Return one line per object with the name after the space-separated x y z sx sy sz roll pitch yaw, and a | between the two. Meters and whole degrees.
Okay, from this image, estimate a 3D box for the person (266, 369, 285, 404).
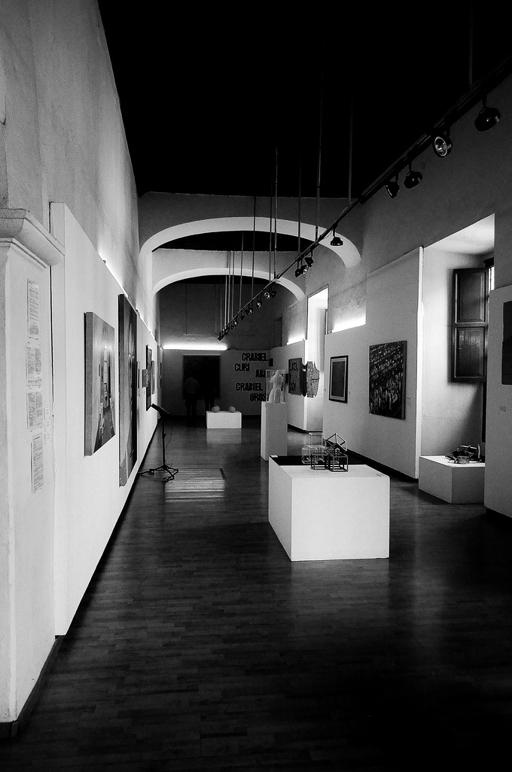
0.412 -0.005 11.568 0.310 0.676 1.359 0 1 1 | person

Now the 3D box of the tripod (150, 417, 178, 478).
-2.081 1.359 12.207 0.434 2.240 0.656 -1 0 15 | tripod

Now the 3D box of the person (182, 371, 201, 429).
-2.499 0.343 21.114 0.669 1.876 2.557 0 1 -8 | person
